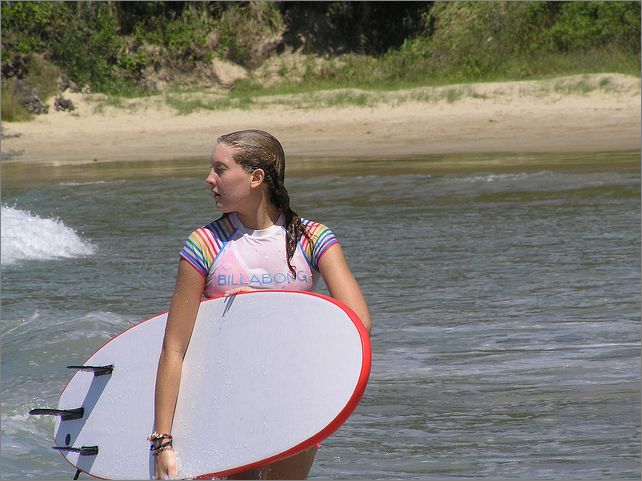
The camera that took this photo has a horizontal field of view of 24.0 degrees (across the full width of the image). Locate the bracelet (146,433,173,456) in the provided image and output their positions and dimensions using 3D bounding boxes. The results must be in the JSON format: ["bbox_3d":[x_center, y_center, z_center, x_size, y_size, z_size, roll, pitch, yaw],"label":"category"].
[{"bbox_3d":[-2.688,3.393,25.342,0.354,0.413,0.322,-11,72,-56],"label":"bracelet"}]
